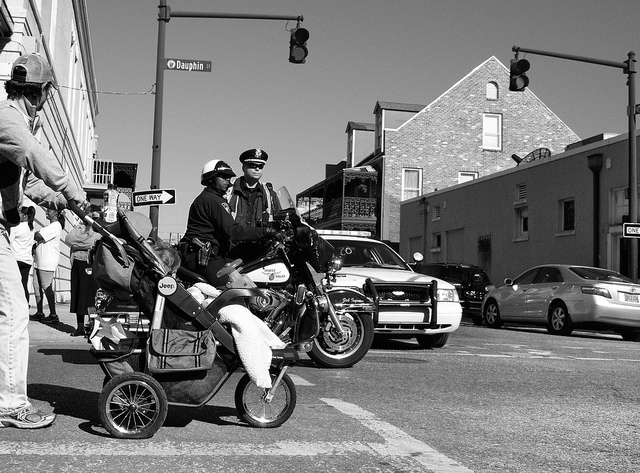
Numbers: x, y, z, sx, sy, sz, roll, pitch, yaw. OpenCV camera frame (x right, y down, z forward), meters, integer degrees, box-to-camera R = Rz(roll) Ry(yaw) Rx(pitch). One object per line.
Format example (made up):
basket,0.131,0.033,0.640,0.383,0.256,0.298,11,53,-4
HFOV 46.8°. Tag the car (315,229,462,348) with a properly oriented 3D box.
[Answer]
car,0.553,0.816,12.717,2.299,2.045,4.969,3,-3,-14

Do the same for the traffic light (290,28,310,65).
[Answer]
traffic light,-0.425,-3.911,15.084,0.362,0.766,0.582,2,-1,-3

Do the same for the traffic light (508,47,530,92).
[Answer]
traffic light,4.597,-3.665,16.821,0.372,0.698,0.402,1,-1,9

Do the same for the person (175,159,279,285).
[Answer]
person,-0.999,-0.150,7.239,0.822,0.880,1.415,1,-1,21

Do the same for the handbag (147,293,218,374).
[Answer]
handbag,-1.074,0.764,5.965,0.591,0.762,0.354,2,-16,-23

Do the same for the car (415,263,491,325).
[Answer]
car,4.236,1.732,20.962,1.568,1.601,3.194,2,5,-17

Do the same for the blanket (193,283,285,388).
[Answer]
blanket,-0.623,0.864,6.248,0.919,0.839,0.474,5,-1,-9

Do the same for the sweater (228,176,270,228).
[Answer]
sweater,-0.863,-0.367,9.014,0.461,0.676,0.366,8,7,-7

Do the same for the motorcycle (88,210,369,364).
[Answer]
motorcycle,-0.863,0.539,7.841,2.983,1.740,1.204,3,5,-14
